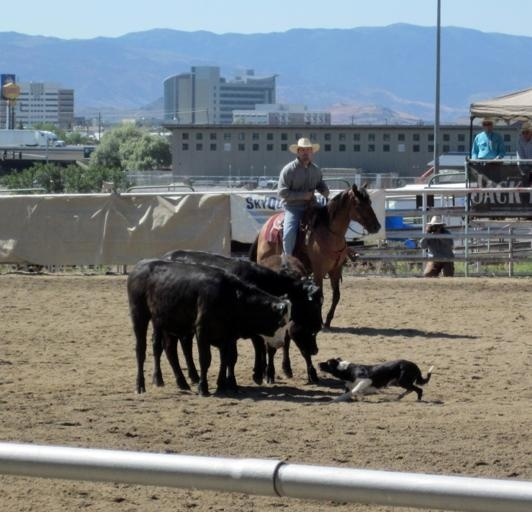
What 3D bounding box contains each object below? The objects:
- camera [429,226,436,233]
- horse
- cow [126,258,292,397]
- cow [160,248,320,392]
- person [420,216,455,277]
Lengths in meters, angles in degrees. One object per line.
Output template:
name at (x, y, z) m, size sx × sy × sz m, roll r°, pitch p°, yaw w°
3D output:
camera at (3.023, -0.485, 25.986) m, size 0.121 × 0.131 × 0.241 m, roll -1°, pitch 10°, yaw -5°
horse at (0.575, 0.076, 20.484) m, size 2.351 × 2.045 × 0.701 m, roll -5°, pitch -6°, yaw 40°
cow at (-0.661, 0.865, 16.507) m, size 1.933 × 1.641 × 0.729 m, roll 4°, pitch 11°, yaw 26°
cow at (-0.321, 0.860, 17.519) m, size 2.419 × 1.435 × 0.655 m, roll -4°, pitch -13°, yaw 34°
person at (3.158, -0.007, 26.116) m, size 0.596 × 1.456 × 0.586 m, roll 2°, pitch -9°, yaw -20°
